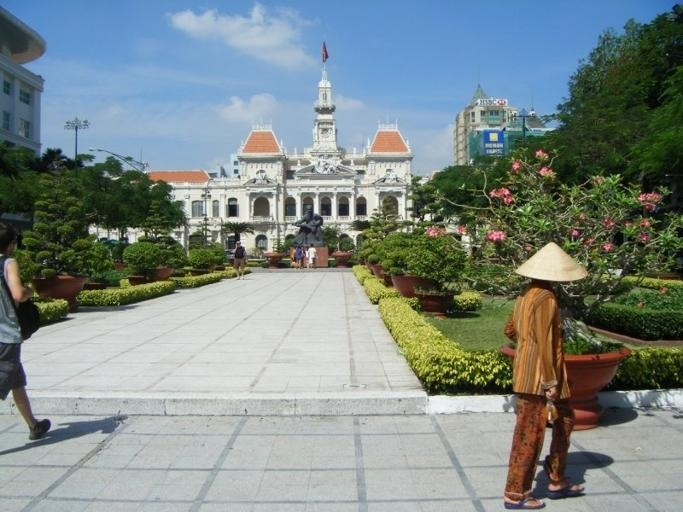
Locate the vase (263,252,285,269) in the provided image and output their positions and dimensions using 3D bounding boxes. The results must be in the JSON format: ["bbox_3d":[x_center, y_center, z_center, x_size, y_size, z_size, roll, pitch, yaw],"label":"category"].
[{"bbox_3d":[-4.618,0.314,37.868,1.290,0.719,1.246,-2,-1,34],"label":"vase"}]

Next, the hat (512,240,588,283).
[{"bbox_3d":[1.895,0.065,5.013,0.523,0.170,0.464,1,5,12],"label":"hat"}]

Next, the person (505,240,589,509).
[{"bbox_3d":[1.761,1.008,4.876,0.685,2.096,1.170,4,13,15],"label":"person"}]

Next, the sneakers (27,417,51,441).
[{"bbox_3d":[-3.126,1.763,5.724,0.134,0.171,0.271,4,28,-5],"label":"sneakers"}]

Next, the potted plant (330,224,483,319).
[{"bbox_3d":[2.113,0.137,13.396,2.807,1.356,2.773,-1,-9,-11],"label":"potted plant"}]

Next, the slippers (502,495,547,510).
[{"bbox_3d":[1.522,2.047,4.648,0.343,0.079,0.117,-1,-1,-2],"label":"slippers"}]

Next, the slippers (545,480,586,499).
[{"bbox_3d":[1.929,2.022,4.840,0.275,0.083,0.139,-2,-5,-6],"label":"slippers"}]
